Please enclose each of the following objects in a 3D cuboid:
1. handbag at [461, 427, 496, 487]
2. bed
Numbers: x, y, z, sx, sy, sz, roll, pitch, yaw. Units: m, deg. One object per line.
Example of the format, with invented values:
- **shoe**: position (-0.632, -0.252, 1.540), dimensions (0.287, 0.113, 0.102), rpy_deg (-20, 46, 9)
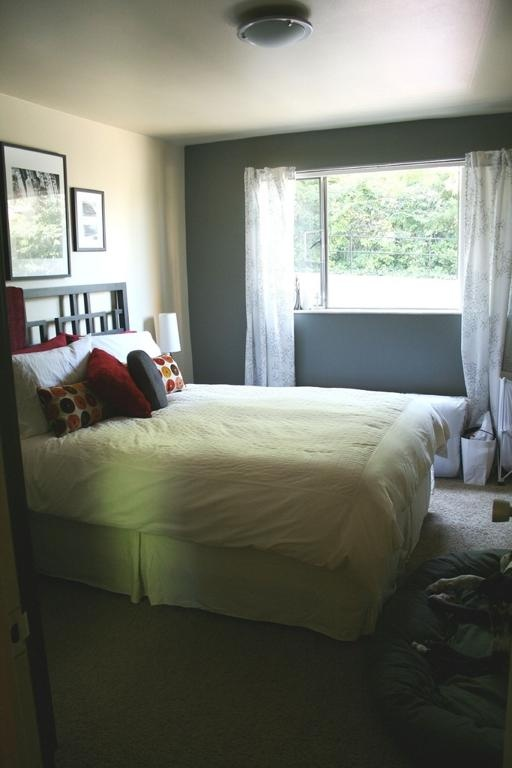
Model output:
- **handbag**: position (1.531, 0.494, 4.015), dimensions (0.287, 0.441, 0.340), rpy_deg (1, 3, 28)
- **bed**: position (-0.109, 0.318, 2.433), dimensions (1.338, 0.837, 1.414), rpy_deg (1, 11, 17)
